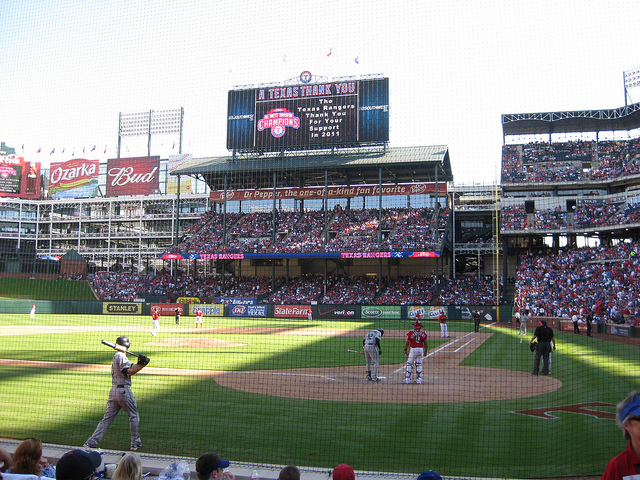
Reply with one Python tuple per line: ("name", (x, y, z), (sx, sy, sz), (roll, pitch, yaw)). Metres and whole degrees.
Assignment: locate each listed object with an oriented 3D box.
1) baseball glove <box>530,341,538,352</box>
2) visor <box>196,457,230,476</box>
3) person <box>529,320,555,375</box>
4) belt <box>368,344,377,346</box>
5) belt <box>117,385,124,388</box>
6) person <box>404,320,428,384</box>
("baseball glove", (9.907, 4.942, 42.464), (0.112, 0.400, 0.298), (19, -34, 8))
("visor", (-3.691, 8.033, 32.546), (0.870, 0.281, 0.587), (-23, 4, -31))
("person", (10.259, 4.922, 42.453), (1.009, 2.762, 0.776), (0, 12, 15))
("belt", (2.379, 4.770, 41.649), (0.336, 0.083, 0.055), (-2, 12, 4))
("belt", (-7.705, 5.721, 35.930), (0.220, 0.107, 0.044), (-4, 12, -6))
("person", (4.298, 5.141, 41.554), (0.910, 2.671, 1.325), (4, 14, 31))
